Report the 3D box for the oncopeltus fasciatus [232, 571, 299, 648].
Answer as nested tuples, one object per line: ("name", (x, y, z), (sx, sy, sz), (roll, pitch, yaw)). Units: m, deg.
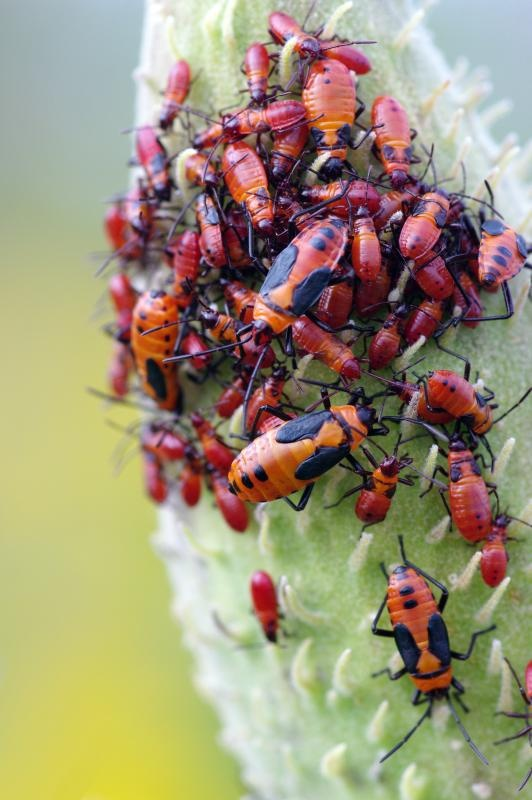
("oncopeltus fasciatus", (-0.004, 0.668, 2.470), (0.092, 0.233, 0.182), (-13, 10, -19))
